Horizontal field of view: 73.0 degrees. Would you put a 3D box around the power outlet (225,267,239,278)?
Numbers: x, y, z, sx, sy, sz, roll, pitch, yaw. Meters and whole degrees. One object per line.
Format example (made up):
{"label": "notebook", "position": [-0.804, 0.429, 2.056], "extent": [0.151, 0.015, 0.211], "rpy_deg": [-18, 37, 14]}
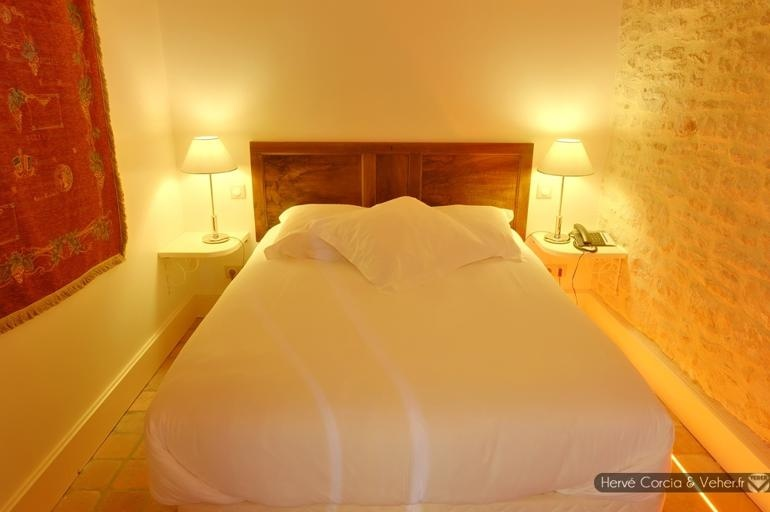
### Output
{"label": "power outlet", "position": [-1.222, 0.137, 4.134], "extent": [0.127, 0.117, 0.030], "rpy_deg": [8, 27, -1]}

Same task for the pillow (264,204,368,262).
{"label": "pillow", "position": [-0.515, -0.147, 3.405], "extent": [0.461, 0.129, 0.469], "rpy_deg": [2, 48, -4]}

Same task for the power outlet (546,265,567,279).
{"label": "power outlet", "position": [1.317, 0.115, 3.997], "extent": [0.107, 0.071, 0.057], "rpy_deg": [0, 15, 3]}
